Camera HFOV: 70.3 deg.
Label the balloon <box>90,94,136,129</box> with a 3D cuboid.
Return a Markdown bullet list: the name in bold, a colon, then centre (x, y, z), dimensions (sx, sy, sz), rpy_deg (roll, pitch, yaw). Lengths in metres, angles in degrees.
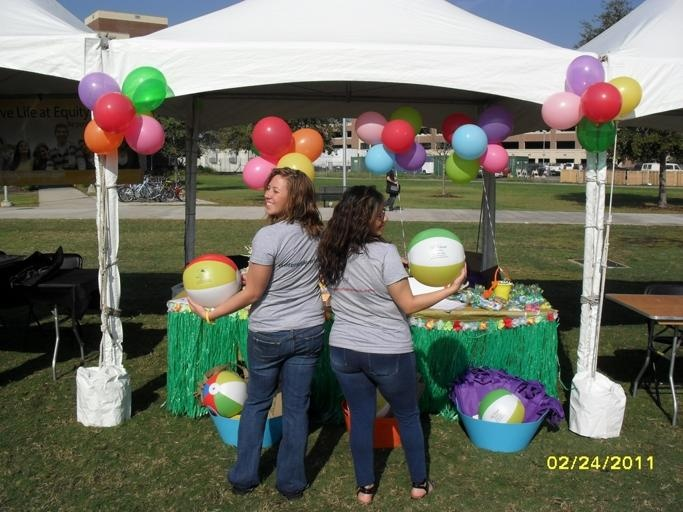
- **balloon**: centre (-1.827, -1.176, 3.905), dimensions (0.291, 0.393, 0.304), rpy_deg (18, 24, 39)

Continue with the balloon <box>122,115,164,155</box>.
- **balloon**: centre (-1.689, -1.083, 4.200), dimensions (0.317, 0.448, 0.332), rpy_deg (-2, 3, -24)

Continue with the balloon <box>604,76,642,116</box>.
- **balloon**: centre (2.352, -1.277, 4.016), dimensions (0.219, 0.307, 0.257), rpy_deg (8, 33, 0)

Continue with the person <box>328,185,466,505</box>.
- **person**: centre (0.233, 0.643, 3.138), dimensions (0.744, 2.152, 0.324), rpy_deg (0, 9, -2)

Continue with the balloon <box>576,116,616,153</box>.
- **balloon**: centre (2.099, -1.001, 4.018), dimensions (0.252, 0.222, 0.304), rpy_deg (14, -24, 12)

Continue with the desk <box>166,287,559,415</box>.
- **desk**: centre (0.277, 0.498, 4.489), dimensions (2.367, 0.800, 1.565), rpy_deg (0, 5, 7)

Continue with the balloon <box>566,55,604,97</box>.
- **balloon**: centre (2.055, -1.527, 4.126), dimensions (0.279, 0.388, 0.299), rpy_deg (3, -2, 30)

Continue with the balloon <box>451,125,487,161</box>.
- **balloon**: centre (1.293, -1.145, 4.883), dimensions (0.370, 0.354, 0.322), rpy_deg (0, 11, -3)

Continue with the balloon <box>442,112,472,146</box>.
- **balloon**: centre (1.291, -1.511, 5.671), dimensions (0.355, 0.512, 0.395), rpy_deg (1, 0, 10)

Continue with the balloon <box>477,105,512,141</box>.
- **balloon**: centre (1.665, -1.446, 5.226), dimensions (0.370, 0.518, 0.398), rpy_deg (1, 5, 26)

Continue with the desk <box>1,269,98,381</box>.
- **desk**: centre (-3.121, 0.630, 5.531), dimensions (1.019, 1.199, 0.958), rpy_deg (0, 0, 9)

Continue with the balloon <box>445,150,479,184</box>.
- **balloon**: centre (1.277, -0.940, 5.069), dimensions (0.286, 0.407, 0.324), rpy_deg (-9, 26, -9)

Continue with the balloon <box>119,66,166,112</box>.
- **balloon**: centre (-1.638, -1.421, 4.092), dimensions (0.324, 0.417, 0.332), rpy_deg (-25, 19, -21)

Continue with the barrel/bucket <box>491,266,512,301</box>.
- **barrel/bucket**: centre (1.549, 0.265, 4.656), dimensions (0.194, 0.316, 0.177), rpy_deg (-7, 9, 1)

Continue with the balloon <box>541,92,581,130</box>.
- **balloon**: centre (1.884, -1.256, 4.157), dimensions (0.312, 0.304, 0.333), rpy_deg (6, 12, 25)

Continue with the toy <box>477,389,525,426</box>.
- **toy**: centre (1.321, 1.207, 3.991), dimensions (0.245, 0.318, 0.265), rpy_deg (-34, -6, 14)

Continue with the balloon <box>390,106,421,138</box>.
- **balloon**: centre (0.754, -1.514, 5.362), dimensions (0.320, 0.455, 0.347), rpy_deg (-4, 2, -15)

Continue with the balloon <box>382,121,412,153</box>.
- **balloon**: centre (0.546, -1.188, 4.997), dimensions (0.278, 0.370, 0.287), rpy_deg (-15, 3, -21)

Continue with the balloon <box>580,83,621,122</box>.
- **balloon**: centre (2.076, -1.219, 3.836), dimensions (0.318, 0.309, 0.225), rpy_deg (1, 10, 5)

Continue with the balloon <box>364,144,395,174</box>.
- **balloon**: centre (0.444, -1.061, 5.173), dimensions (0.289, 0.401, 0.323), rpy_deg (-1, 20, 22)

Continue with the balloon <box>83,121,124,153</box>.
- **balloon**: centre (-1.955, -1.021, 4.073), dimensions (0.227, 0.283, 0.224), rpy_deg (-32, 1, -16)

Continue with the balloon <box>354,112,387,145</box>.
- **balloon**: centre (0.344, -1.394, 5.248), dimensions (0.410, 0.366, 0.419), rpy_deg (6, 12, 27)

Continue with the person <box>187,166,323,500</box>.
- **person**: centre (-0.452, 0.548, 3.287), dimensions (0.669, 2.250, 0.386), rpy_deg (0, 9, -4)

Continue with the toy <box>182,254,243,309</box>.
- **toy**: centre (-0.946, 0.171, 3.561), dimensions (0.426, 0.436, 0.392), rpy_deg (-5, 10, 7)

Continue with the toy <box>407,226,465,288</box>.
- **toy**: centre (0.675, 0.022, 3.433), dimensions (0.403, 0.490, 0.425), rpy_deg (-4, 1, -9)
